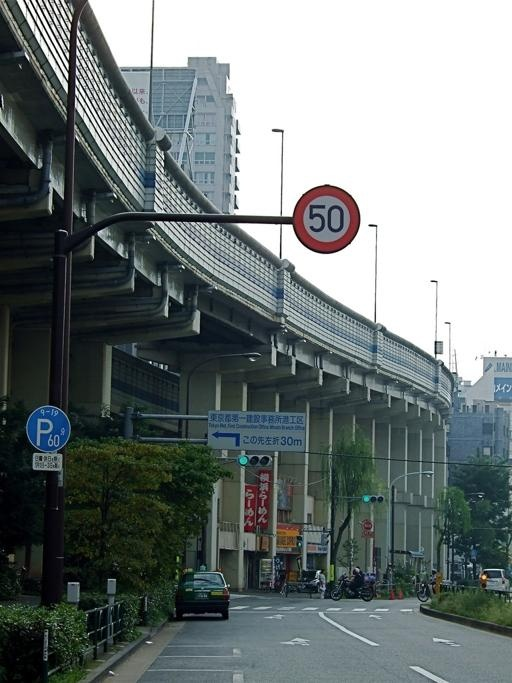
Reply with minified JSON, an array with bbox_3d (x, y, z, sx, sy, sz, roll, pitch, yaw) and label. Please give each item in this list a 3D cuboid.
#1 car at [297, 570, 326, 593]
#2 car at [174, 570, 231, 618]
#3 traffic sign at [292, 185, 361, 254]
[{"bbox_3d":[3.216,13.750,68.280,1.473,1.294,2.114,-2,-14,14],"label":"car"},{"bbox_3d":[-1.482,7.161,33.189,1.376,1.329,2.878,2,-15,-9],"label":"car"},{"bbox_3d":[0.801,-1.388,13.661,0.766,0.767,0.214,-1,-12,12],"label":"traffic sign"}]
